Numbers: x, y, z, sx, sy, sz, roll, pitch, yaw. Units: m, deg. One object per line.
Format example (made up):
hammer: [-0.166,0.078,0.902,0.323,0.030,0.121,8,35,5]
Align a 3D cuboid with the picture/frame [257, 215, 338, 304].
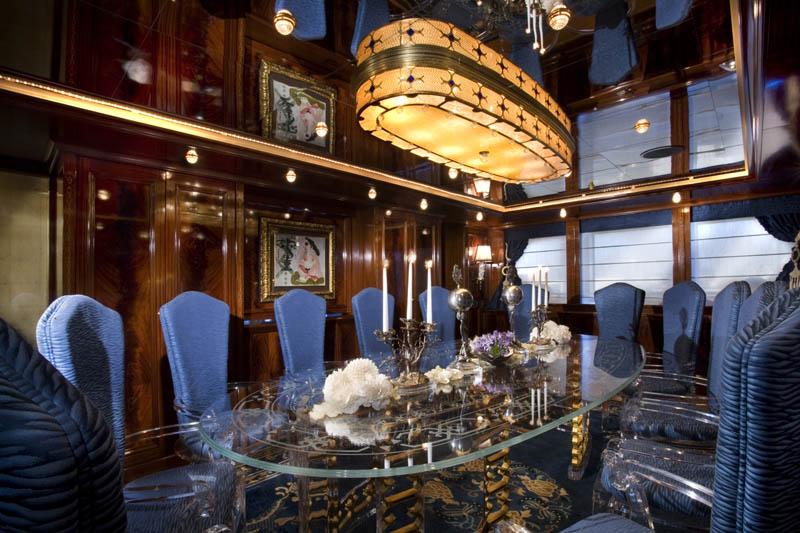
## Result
picture/frame: [-1.231,-0.088,6.580,0.077,0.898,0.999,-4,-7,40]

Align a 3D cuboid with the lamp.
lamp: [0.510,-1.364,4.747,1.794,1.147,0.735,-7,15,-26]

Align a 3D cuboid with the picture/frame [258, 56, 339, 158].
picture/frame: [-1.089,-1.642,5.883,0.072,0.978,1.016,-2,-4,42]
